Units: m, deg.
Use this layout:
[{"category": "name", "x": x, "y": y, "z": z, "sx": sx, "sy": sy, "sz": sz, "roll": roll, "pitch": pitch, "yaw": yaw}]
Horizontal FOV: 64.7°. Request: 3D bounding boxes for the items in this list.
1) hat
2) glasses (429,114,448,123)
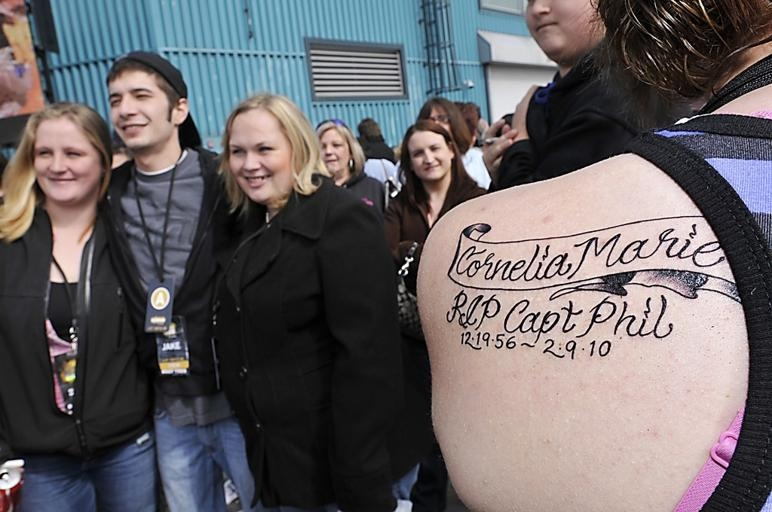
[{"category": "hat", "x": -1.090, "y": -0.776, "z": 2.955, "sx": 0.338, "sy": 0.486, "sz": 0.356, "roll": 3, "pitch": 14, "yaw": -9}, {"category": "glasses", "x": 0.353, "y": -0.887, "z": 3.961, "sx": 0.074, "sy": 0.024, "sz": 0.071, "roll": 7, "pitch": 0, "yaw": -45}]
